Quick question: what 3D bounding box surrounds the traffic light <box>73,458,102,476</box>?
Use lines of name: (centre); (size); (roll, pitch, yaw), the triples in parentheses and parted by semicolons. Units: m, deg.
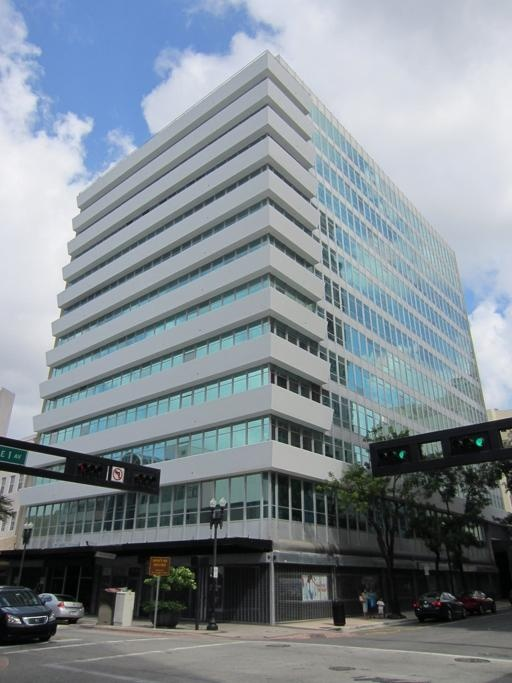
traffic light: (-5.880, 4.510, 17.642); (0.252, 0.564, 1.065); (-21, -31, 39)

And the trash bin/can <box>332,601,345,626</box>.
trash bin/can: (3.904, 13.016, 23.958); (0.524, 1.004, 1.165); (-1, -24, 4)

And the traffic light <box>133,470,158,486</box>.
traffic light: (-4.387, 5.455, 20.123); (0.224, 0.728, 1.250); (-19, -30, 37)

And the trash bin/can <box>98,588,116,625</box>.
trash bin/can: (-6.886, 12.289, 23.209); (0.562, 1.423, 1.283); (19, -30, -34)
